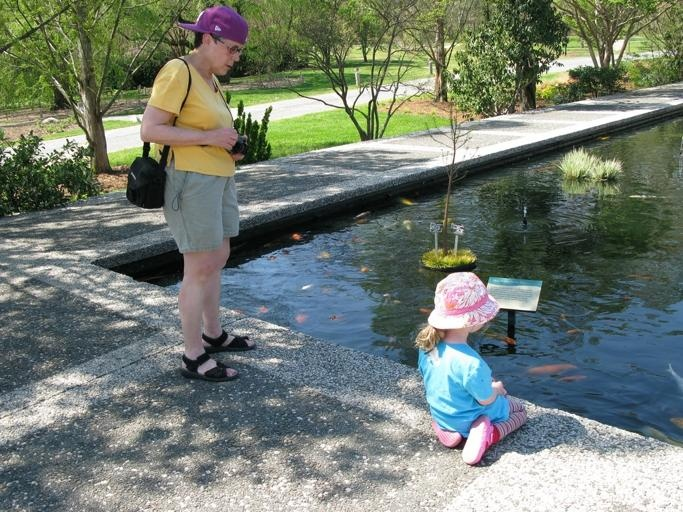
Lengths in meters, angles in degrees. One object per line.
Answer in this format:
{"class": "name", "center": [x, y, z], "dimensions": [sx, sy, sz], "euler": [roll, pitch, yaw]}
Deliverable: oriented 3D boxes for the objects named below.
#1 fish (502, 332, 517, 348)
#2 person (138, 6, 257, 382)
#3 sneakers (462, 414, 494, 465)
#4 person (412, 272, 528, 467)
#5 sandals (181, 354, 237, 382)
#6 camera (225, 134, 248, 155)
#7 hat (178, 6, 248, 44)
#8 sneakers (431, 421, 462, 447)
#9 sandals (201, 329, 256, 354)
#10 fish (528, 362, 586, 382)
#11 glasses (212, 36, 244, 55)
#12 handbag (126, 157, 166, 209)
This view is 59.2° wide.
{"class": "fish", "center": [1.288, 0.654, 4.638], "dimensions": [0.069, 0.045, 0.092], "euler": [9, 17, 29]}
{"class": "person", "center": [-0.823, -0.383, 3.644], "dimensions": [0.479, 2.239, 0.712], "euler": [8, 22, 35]}
{"class": "sneakers", "center": [0.682, 0.921, 3.026], "dimensions": [0.113, 0.239, 0.107], "euler": [7, -31, 45]}
{"class": "person", "center": [0.644, 0.550, 3.139], "dimensions": [0.538, 0.860, 0.459], "euler": [-20, 23, -40]}
{"class": "sandals", "center": [-0.827, 0.688, 3.756], "dimensions": [0.355, 0.127, 0.154], "euler": [1, 9, 6]}
{"class": "camera", "center": [-0.605, -0.680, 3.532], "dimensions": [0.131, 0.046, 0.208], "euler": [11, 8, -18]}
{"class": "hat", "center": [-0.689, -1.372, 3.476], "dimensions": [0.410, 0.181, 0.228], "euler": [17, 21, -15]}
{"class": "sneakers", "center": [0.540, 0.934, 3.146], "dimensions": [0.148, 0.081, 0.036], "euler": [40, -1, 36]}
{"class": "sandals", "center": [-0.766, 0.562, 4.062], "dimensions": [0.345, 0.110, 0.148], "euler": [-3, 6, -13]}
{"class": "fish", "center": [1.490, 0.811, 4.199], "dimensions": [0.373, 0.039, 0.210], "euler": [-2, 15, 4]}
{"class": "glasses", "center": [-0.667, -1.271, 3.459], "dimensions": [0.120, 0.034, 0.119], "euler": [39, 24, 26]}
{"class": "handbag", "center": [-1.160, -0.466, 3.607], "dimensions": [0.201, 0.267, 0.305], "euler": [-9, 36, -34]}
